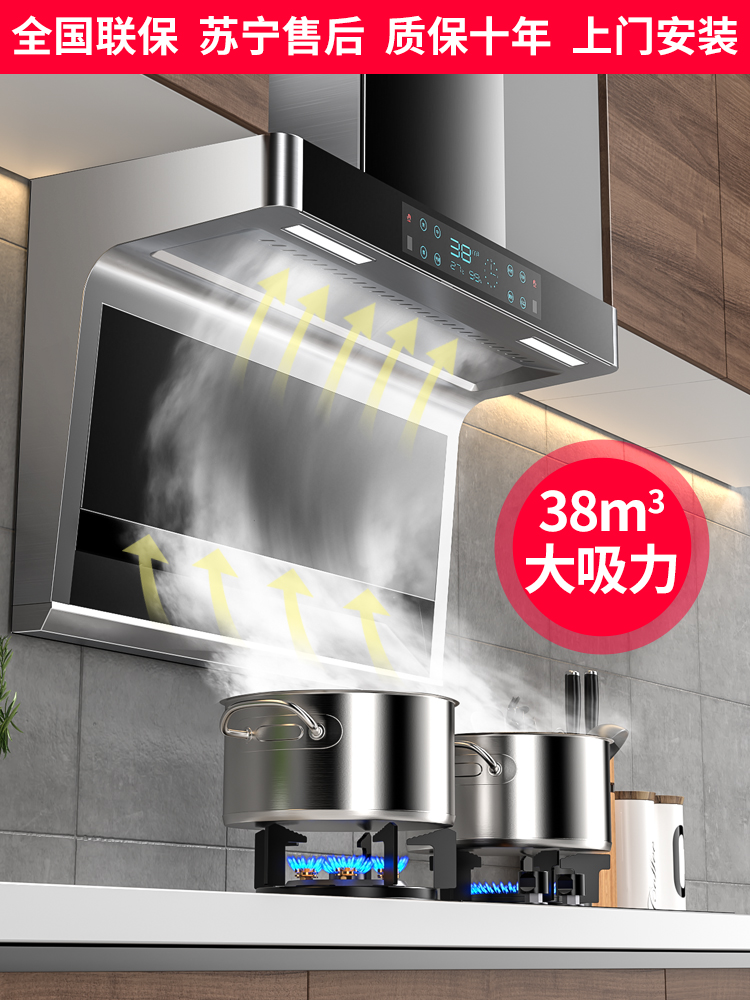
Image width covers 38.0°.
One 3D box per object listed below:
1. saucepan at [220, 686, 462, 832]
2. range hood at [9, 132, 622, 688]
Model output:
[{"bbox_3d":[-0.034,0.260,1.066,0.233,0.150,0.172,2,-8,-5],"label":"saucepan"},{"bbox_3d":[-0.035,-0.044,1.393,0.377,0.482,0.767,-10,-15,30],"label":"range hood"}]
